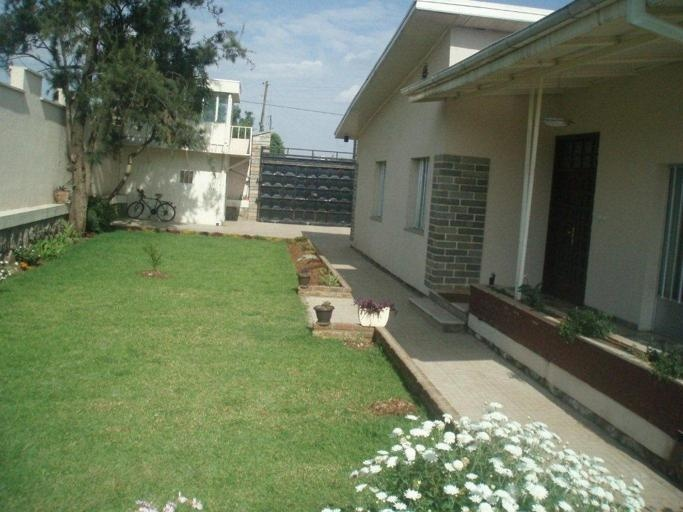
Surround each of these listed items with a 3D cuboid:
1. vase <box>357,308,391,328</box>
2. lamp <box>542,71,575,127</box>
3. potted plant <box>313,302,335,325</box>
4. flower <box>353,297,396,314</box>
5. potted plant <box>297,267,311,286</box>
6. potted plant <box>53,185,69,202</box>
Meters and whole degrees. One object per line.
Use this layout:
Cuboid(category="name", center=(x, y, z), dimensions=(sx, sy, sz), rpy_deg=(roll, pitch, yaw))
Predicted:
Cuboid(category="vase", center=(0.561, 1.061, 8.715), dimensions=(0.405, 0.268, 0.338), rpy_deg=(1, 2, -8))
Cuboid(category="lamp", center=(3.833, -2.765, 8.968), dimensions=(0.644, 1.039, 0.599), rpy_deg=(-6, 17, -4))
Cuboid(category="potted plant", center=(-0.303, 0.979, 8.589), dimensions=(0.331, 0.405, 0.356), rpy_deg=(1, -3, -7))
Cuboid(category="flower", center=(0.571, 0.842, 8.748), dimensions=(0.491, 0.196, 0.579), rpy_deg=(13, 16, 31))
Cuboid(category="potted plant", center=(-0.815, 0.469, 11.483), dimensions=(0.326, 0.349, 0.338), rpy_deg=(1, -2, -12))
Cuboid(category="potted plant", center=(-8.172, -1.785, 14.962), dimensions=(0.386, 0.433, 0.402), rpy_deg=(3, 3, -6))
